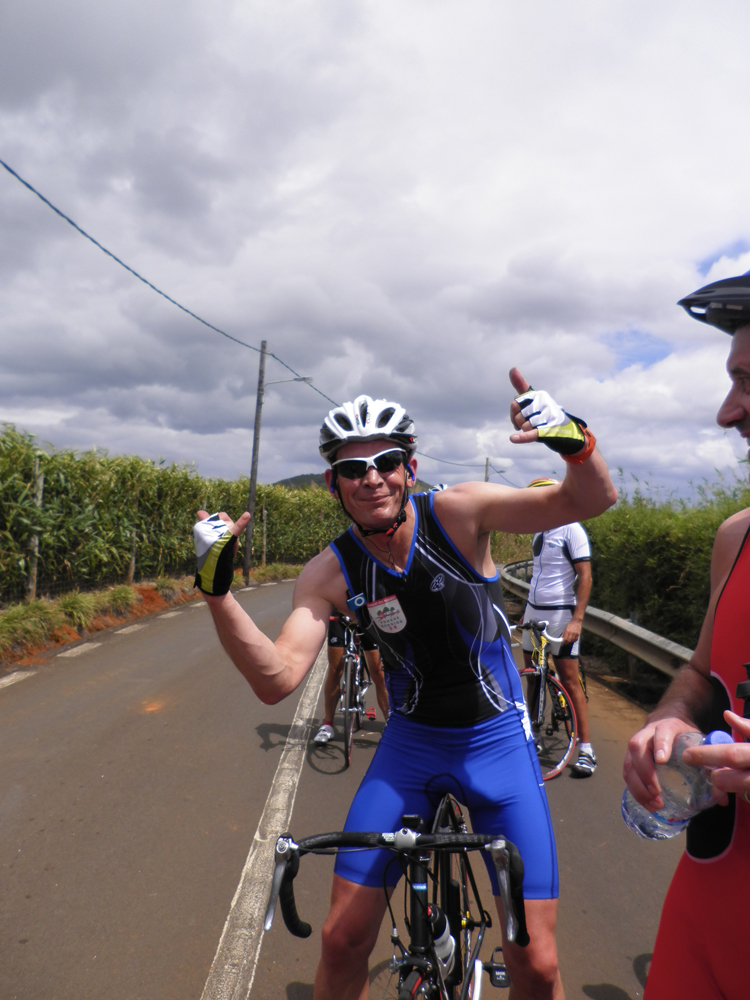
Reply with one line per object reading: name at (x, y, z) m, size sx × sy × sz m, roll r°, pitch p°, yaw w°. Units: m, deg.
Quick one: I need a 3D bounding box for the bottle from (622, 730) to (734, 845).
bottle at (0.691, 0.680, 1.737) m, size 0.227 × 0.313 × 0.138 m, roll 1°, pitch 7°, yaw 31°

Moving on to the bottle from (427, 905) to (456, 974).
bottle at (0.204, 1.361, 2.199) m, size 0.058 × 0.221 × 0.144 m, roll -2°, pitch 6°, yaw 5°

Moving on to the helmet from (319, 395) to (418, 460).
helmet at (-0.029, -0.230, 2.473) m, size 0.324 × 0.175 × 0.453 m, roll -1°, pitch -12°, yaw 2°

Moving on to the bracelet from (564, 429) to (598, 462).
bracelet at (0.603, -0.159, 2.151) m, size 0.089 × 0.099 × 0.145 m, roll -1°, pitch 6°, yaw 14°
